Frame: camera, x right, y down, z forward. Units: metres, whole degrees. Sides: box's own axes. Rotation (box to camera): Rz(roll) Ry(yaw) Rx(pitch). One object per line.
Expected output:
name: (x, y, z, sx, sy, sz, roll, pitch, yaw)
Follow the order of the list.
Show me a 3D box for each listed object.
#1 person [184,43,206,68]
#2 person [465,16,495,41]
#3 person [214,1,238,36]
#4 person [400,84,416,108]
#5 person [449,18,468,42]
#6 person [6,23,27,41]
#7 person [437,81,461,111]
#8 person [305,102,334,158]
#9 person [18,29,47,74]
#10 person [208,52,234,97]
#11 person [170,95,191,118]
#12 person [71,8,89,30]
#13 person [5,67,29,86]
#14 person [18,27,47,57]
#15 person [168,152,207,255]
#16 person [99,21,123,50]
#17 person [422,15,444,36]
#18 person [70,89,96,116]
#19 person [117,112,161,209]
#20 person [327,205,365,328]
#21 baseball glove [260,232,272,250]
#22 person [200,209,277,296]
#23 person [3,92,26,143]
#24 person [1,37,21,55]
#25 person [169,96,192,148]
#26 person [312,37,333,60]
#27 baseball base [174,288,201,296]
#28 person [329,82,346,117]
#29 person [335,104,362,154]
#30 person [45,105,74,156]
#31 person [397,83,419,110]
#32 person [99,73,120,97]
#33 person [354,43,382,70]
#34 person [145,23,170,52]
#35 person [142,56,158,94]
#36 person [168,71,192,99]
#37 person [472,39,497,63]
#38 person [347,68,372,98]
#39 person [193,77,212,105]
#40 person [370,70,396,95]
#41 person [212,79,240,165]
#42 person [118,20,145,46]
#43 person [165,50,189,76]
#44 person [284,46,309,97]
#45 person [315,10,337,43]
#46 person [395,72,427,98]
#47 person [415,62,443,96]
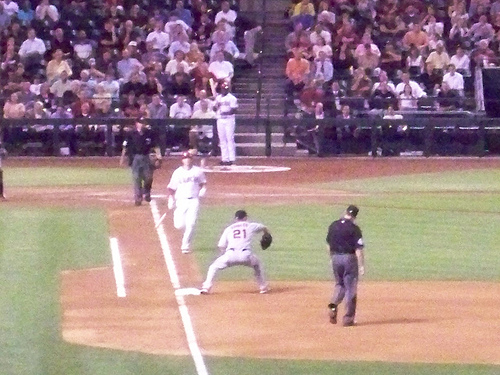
person: (-1.920, -4.683, 29.829, 0.794, 0.963, 0.367, -2, -15, -4)
person: (8.663, -5.963, 31.750, 1.044, 0.902, 0.545, 4, 14, 14)
person: (-0.861, -6.363, 31.937, 0.824, 1.257, 2.231, 0, 13, -2)
person: (5.457, -3.111, 29.058, 0.469, 0.776, 0.347, -7, 16, -29)
person: (7.873, -5.856, 31.885, 0.724, 0.910, 0.461, 3, 2, 3)
person: (-8.919, -5.947, 32.625, 0.748, 0.694, 0.288, 4, -1, -14)
person: (6.889, -3.155, 29.246, 1.006, 0.991, 0.550, -6, 15, -28)
person: (2.407, -1.958, 29.187, 0.960, 1.885, 0.719, 3, 14, 10)
person: (-8.091, -5.096, 31.738, 0.945, 1.615, 1.024, -3, 14, -16)
person: (-0.979, -3.891, 29.154, 1.074, 1.548, 0.935, -2, 6, -12)
person: (-2.313, -2.750, 28.757, 0.762, 0.967, 0.726, 0, 13, -6)
person: (-6.549, -6.533, 32.898, 0.792, 0.817, 0.449, 3, 14, 10)
person: (-8.489, -4.048, 30.902, 0.655, 0.830, 0.348, 4, 45, -11)
person: (-8.182, -5.457, 31.859, 1.097, 0.959, 0.623, -4, 10, -5)
person: (-1.228, 0.338, 17.729, 0.726, 2.089, 0.785, -4, 14, -19)
person: (-5.219, -5.775, 32.145, 1.084, 1.035, 0.398, -2, -5, 11)
person: (6.907, -6.078, 31.937, 0.450, 0.563, 1.039, -39, 56, -23)
person: (-5.662, -2.882, 28.874, 0.914, 0.871, 0.432, 1, 14, 2)
person: (-2.611, -0.568, 21.010, 1.065, 2.241, 0.885, 4, 14, 13)
person: (1.562, 1.327, 13.871, 0.601, 2.035, 0.563, 2, 14, 5)
baseball glove: (0.308, 0.968, 15.128, 0.214, 0.257, 0.264, 2, 38, -2)
person: (-0.212, 1.354, 16.674, 1.361, 1.479, 1.027, 1, 20, 13)
person: (-8.070, -2.372, 29.191, 0.756, 1.672, 0.797, -1, 14, -8)
person: (-9.087, -5.362, 32.201, 0.876, 0.281, 0.911, 0, 52, -10)
person: (-2.312, -2.195, 28.610, 0.772, 1.812, 0.518, -1, 14, -5)
person: (2.631, -4.971, 30.492, 0.978, 0.875, 0.511, -6, 4, 10)
baseball base: (-1.130, 1.915, 15.507, 0.473, 0.047, 0.334, 0, 13, -3)
person: (3.040, -3.060, 29.321, 0.577, 1.177, 0.648, 0, 14, -4)
person: (3.439, -1.959, 29.194, 0.876, 1.758, 0.553, 2, 14, 5)
person: (-6.472, -2.003, 28.998, 1.203, 1.983, 1.142, 4, 40, -7)
person: (5.477, -3.090, 29.156, 0.723, 0.858, 0.426, 3, 14, 8)
person: (-4.776, -3.539, 29.316, 0.600, 0.773, 0.728, -2, 13, -10)
person: (4.242, -4.683, 30.513, 1.123, 1.140, 0.680, 1, -16, 1)
person: (-3.331, -5.540, 31.301, 0.815, 1.016, 0.693, -1, 13, -5)
person: (-3.416, -3.858, 29.300, 0.531, 1.118, 1.836, -1, 13, -6)
person: (-2.368, -3.517, 29.148, 0.813, 0.919, 0.429, -1, 14, -6)
person: (8.427, -4.870, 30.460, 0.582, 0.747, 0.867, -8, 16, -32)
person: (3.844, -3.655, 29.622, 0.552, 0.928, 1.087, -9, 16, -35)
person: (-1.659, -3.357, 29.339, 0.632, 0.829, 0.284, -1, 12, -4)
person: (4.595, -3.681, 29.406, 0.719, 0.375, 0.966, -1, 26, 3)
person: (-0.749, -1.970, 26.935, 0.712, 2.682, 0.834, 0, 14, -1)
person: (-4.479, -5.744, 31.912, 1.059, 0.995, 0.314, 7, 7, 8)
person: (-2.504, -4.335, 29.546, 0.749, 0.870, 1.052, -5, 14, -21)
person: (1.725, -4.042, 30.187, 0.773, 1.554, 0.724, 1, 14, 3)
person: (2.988, -6.069, 31.933, 0.656, 1.172, 1.429, 2, 13, 5)
person: (5.637, -3.525, 29.511, 0.803, 1.184, 0.367, -14, -26, -19)
person: (6.379, -3.874, 30.048, 1.135, 1.379, 1.086, 0, 5, 5)
